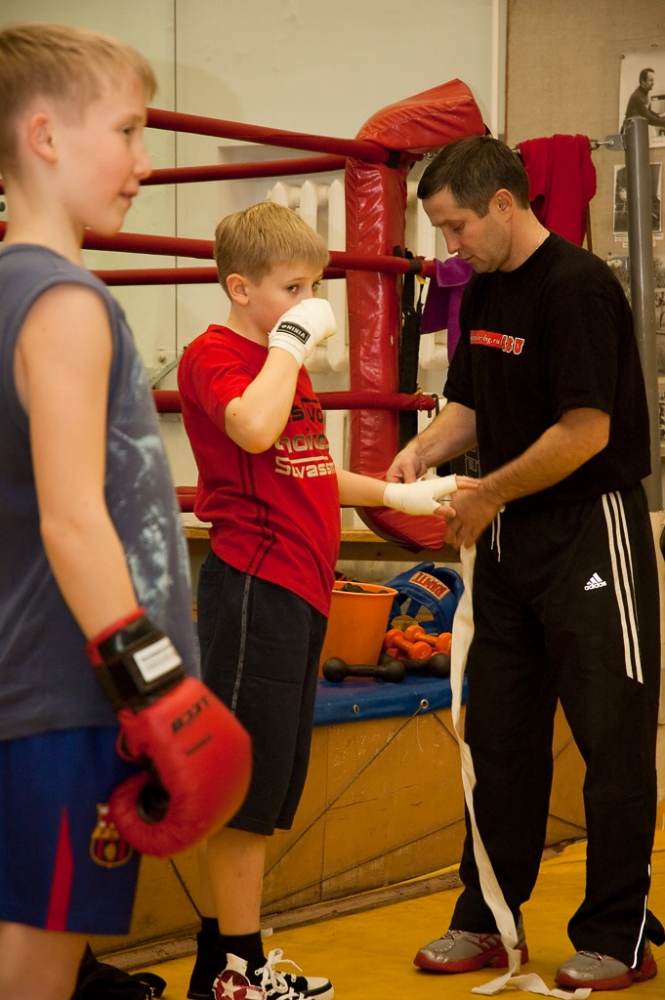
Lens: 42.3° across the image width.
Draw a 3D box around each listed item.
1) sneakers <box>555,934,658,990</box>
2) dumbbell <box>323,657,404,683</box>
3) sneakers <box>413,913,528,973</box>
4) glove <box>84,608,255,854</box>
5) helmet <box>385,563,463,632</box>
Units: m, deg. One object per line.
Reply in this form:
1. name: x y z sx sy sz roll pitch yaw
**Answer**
1. sneakers: 0.531 0.867 1.611 0.211 0.085 0.075 14 -25 -27
2. dumbbell: 0.082 0.447 2.272 0.258 0.073 0.075 3 2 -12
3. sneakers: 0.261 0.894 1.775 0.259 0.123 0.097 7 -14 -22
4. glove: -0.127 0.174 0.659 0.105 0.183 0.072 1 12 18
5. helmet: 0.285 0.305 2.623 0.162 0.221 0.222 35 37 20
